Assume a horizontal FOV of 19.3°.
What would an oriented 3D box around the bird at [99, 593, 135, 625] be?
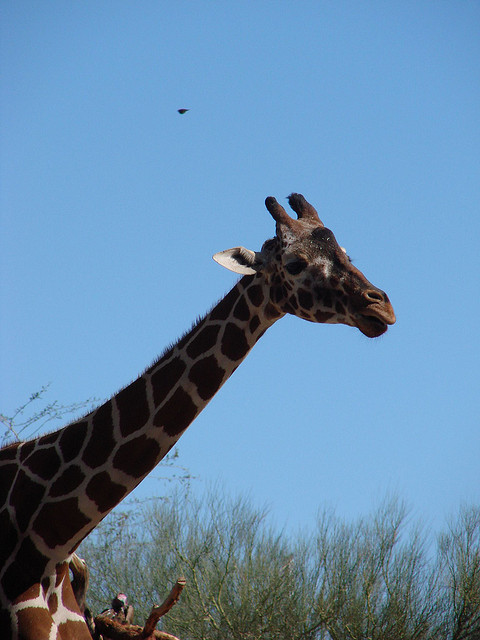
[{"bbox_3d":[-1.400,3.194,15.839,0.244,0.488,0.438,10,-9,18],"label":"bird"}]
